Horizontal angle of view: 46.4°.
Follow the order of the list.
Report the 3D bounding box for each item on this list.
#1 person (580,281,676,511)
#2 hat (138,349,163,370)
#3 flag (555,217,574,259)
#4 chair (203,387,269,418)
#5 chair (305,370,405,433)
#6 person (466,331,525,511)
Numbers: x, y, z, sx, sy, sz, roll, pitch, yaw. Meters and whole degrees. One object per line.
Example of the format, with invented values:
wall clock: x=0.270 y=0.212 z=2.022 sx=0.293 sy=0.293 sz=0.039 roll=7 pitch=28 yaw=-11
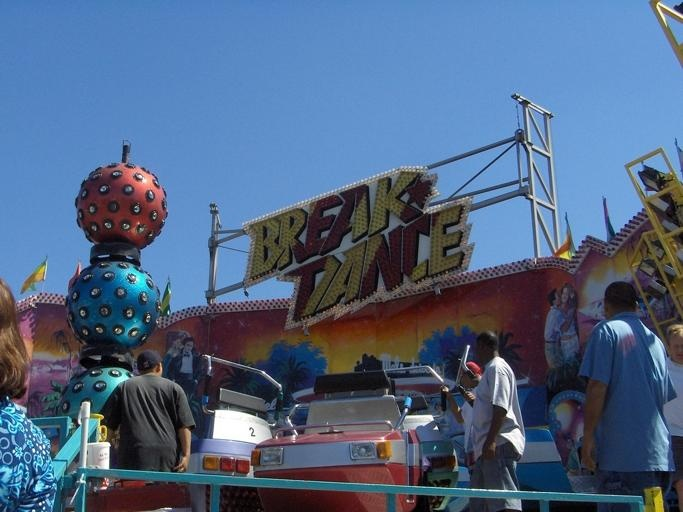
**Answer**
person: x=2.440 y=1.111 z=6.865 sx=0.831 sy=1.885 sz=0.520 roll=-4 pitch=-23 yaw=7
hat: x=-2.062 y=1.112 z=8.678 sx=0.173 sy=0.144 sz=0.250 roll=1 pitch=18 yaw=9
flag: x=4.304 y=-0.241 z=15.465 sx=0.109 sy=1.134 sz=0.603 roll=15 pitch=27 yaw=41
chair: x=-1.414 y=2.056 z=11.002 sx=0.311 sy=0.348 sz=1.093 roll=-13 pitch=-27 yaw=25
chair: x=0.112 y=1.585 z=9.257 sx=0.825 sy=0.626 sz=0.887 roll=-6 pitch=-22 yaw=7
person: x=1.488 y=1.452 z=7.754 sx=0.491 sy=1.585 sz=0.523 roll=-7 pitch=-23 yaw=15
